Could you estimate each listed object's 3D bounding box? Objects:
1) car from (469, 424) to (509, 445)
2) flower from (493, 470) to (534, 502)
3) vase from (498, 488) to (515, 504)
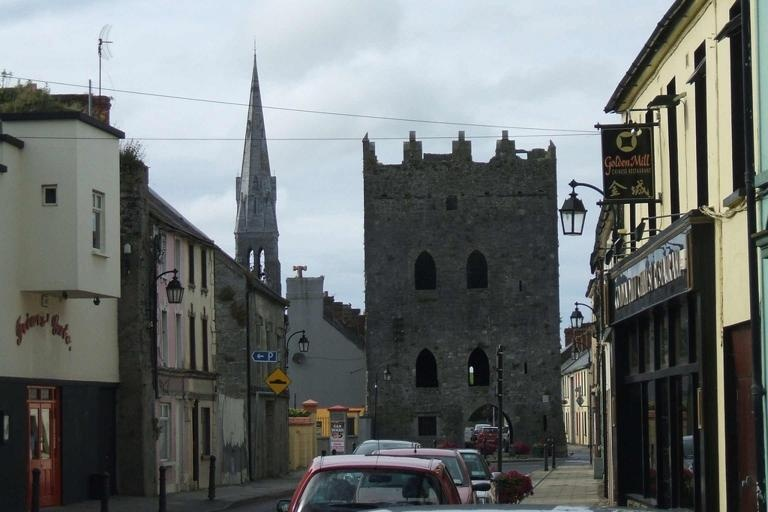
[{"bbox_3d":[5.875,9.314,88.724,1.234,1.125,2.086,1,-12,-4],"label":"car"},{"bbox_3d":[3.840,6.762,48.695,1.048,1.282,1.121,0,-9,1],"label":"flower"},{"bbox_3d":[3.598,6.841,47.972,0.518,0.602,0.563,1,-9,-4],"label":"vase"}]
